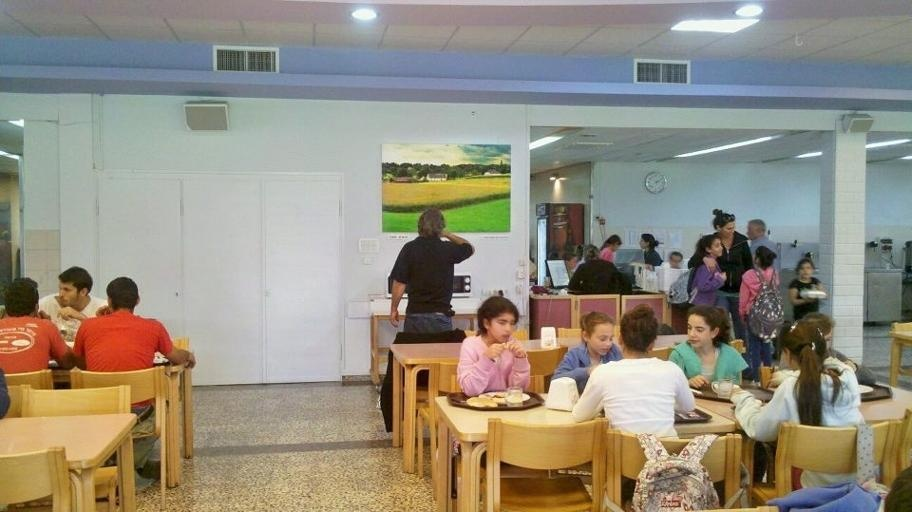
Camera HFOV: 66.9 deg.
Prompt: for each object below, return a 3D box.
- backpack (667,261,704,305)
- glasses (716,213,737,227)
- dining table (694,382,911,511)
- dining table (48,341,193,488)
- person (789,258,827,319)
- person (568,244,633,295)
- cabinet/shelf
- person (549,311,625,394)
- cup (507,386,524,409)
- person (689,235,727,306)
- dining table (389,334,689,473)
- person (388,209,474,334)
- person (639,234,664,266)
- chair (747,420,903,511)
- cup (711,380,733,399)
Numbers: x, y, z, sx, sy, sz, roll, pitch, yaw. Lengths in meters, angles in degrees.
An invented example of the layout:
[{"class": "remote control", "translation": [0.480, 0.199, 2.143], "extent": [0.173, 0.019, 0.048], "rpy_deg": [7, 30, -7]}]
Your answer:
[{"class": "backpack", "translation": [3.333, 0.425, 9.948], "extent": [0.206, 0.522, 0.445], "rpy_deg": [13, 4, 44]}, {"class": "glasses", "translation": [3.658, -0.490, 9.455], "extent": [0.264, 0.187, 0.202], "rpy_deg": [17, 2, 27]}, {"class": "dining table", "translation": [3.055, 1.676, 6.355], "extent": [1.176, 1.761, 1.279], "rpy_deg": [-1, 12, 2]}, {"class": "dining table", "translation": [-3.578, 1.511, 7.512], "extent": [1.274, 2.080, 1.526], "rpy_deg": [-1, 9, -22]}, {"class": "person", "translation": [4.918, 0.488, 9.683], "extent": [0.415, 0.923, 1.432], "rpy_deg": [-1, 3, 27]}, {"class": "person", "translation": [2.157, 0.232, 10.481], "extent": [1.041, 0.677, 0.520], "rpy_deg": [1, -4, -6]}, {"class": "cabinet/shelf", "translation": [-0.577, 1.198, 9.749], "extent": [1.746, 1.045, 1.041], "rpy_deg": [0, 0, -8]}, {"class": "person", "translation": [1.280, 0.962, 6.727], "extent": [0.795, 0.923, 0.577], "rpy_deg": [-2, 3, -24]}, {"class": "cup", "translation": [0.531, 1.278, 6.263], "extent": [0.157, 0.131, 0.147], "rpy_deg": [-1, 3, 0]}, {"class": "person", "translation": [3.404, 0.194, 9.396], "extent": [0.493, 0.967, 0.361], "rpy_deg": [-1, 4, 24]}, {"class": "dining table", "translation": [0.794, 1.348, 6.254], "extent": [1.744, 0.742, 0.855], "rpy_deg": [0, 3, -16]}, {"class": "person", "translation": [-0.311, 0.170, 8.268], "extent": [0.933, 1.451, 0.493], "rpy_deg": [-2, 4, 0]}, {"class": "person", "translation": [3.581, -0.115, 12.738], "extent": [0.281, 0.763, 0.334], "rpy_deg": [-23, 28, 21]}, {"class": "chair", "translation": [3.050, 1.709, 5.955], "extent": [0.711, 1.100, 0.807], "rpy_deg": [0, 6, 6]}, {"class": "cup", "translation": [2.478, 1.238, 6.401], "extent": [0.200, 0.124, 0.121], "rpy_deg": [-1, 0, 9]}]
